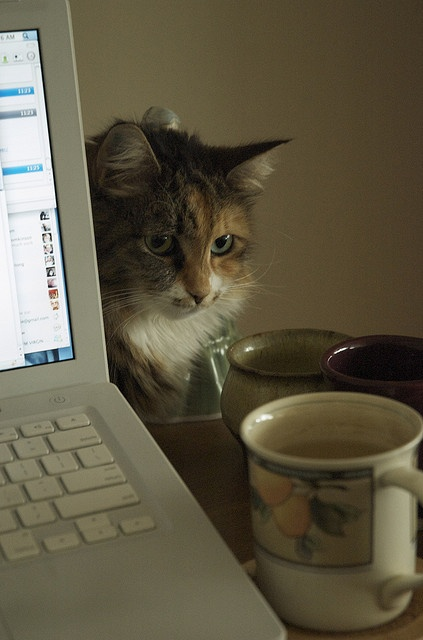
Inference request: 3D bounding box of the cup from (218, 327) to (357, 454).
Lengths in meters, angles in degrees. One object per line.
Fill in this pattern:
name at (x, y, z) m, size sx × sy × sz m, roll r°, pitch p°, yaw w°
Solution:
cup at (0.049, 0.035, 0.433) m, size 0.095 × 0.062 × 0.094 m, roll -2°, pitch 15°, yaw 1°
